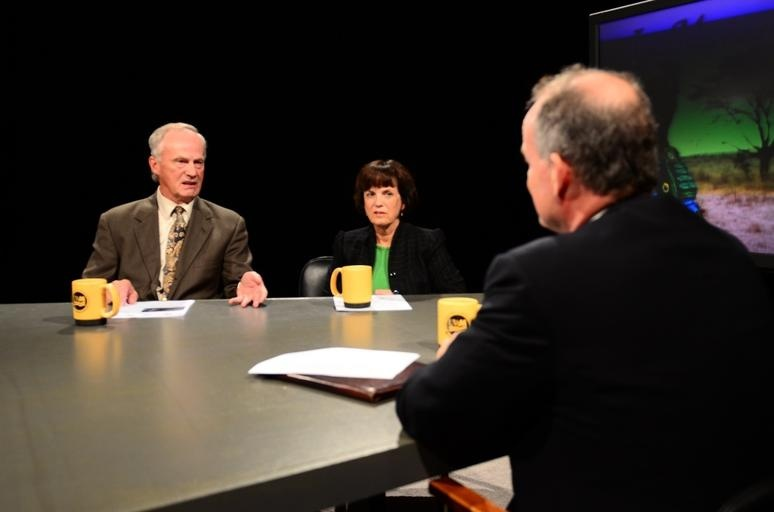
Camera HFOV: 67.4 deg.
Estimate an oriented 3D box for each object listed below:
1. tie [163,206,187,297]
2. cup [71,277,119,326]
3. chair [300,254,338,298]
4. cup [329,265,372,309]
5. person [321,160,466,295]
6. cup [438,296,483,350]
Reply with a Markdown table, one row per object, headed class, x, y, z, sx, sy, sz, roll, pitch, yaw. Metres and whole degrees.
| class | x | y | z | sx | sy | sz | roll | pitch | yaw |
| --- | --- | --- | --- | --- | --- | --- | --- | --- | --- |
| tie | -0.939 | -0.020 | 2.614 | 0.070 | 0.418 | 0.073 | 14 | -21 | -12 |
| cup | -0.878 | 0.143 | 1.799 | 0.181 | 0.138 | 0.110 | 2 | 1 | 22 |
| chair | -0.286 | 0.102 | 2.666 | 0.167 | 0.197 | 0.174 | 0 | -1 | -7 |
| cup | -0.113 | 0.106 | 2.026 | 0.185 | 0.144 | 0.112 | -1 | 1 | 2 |
| person | 0.047 | -0.184 | 3.147 | 0.778 | 0.691 | 0.426 | -9 | -16 | 23 |
| cup | 0.172 | 0.176 | 1.594 | 0.159 | 0.120 | 0.099 | 0 | 0 | -5 |
